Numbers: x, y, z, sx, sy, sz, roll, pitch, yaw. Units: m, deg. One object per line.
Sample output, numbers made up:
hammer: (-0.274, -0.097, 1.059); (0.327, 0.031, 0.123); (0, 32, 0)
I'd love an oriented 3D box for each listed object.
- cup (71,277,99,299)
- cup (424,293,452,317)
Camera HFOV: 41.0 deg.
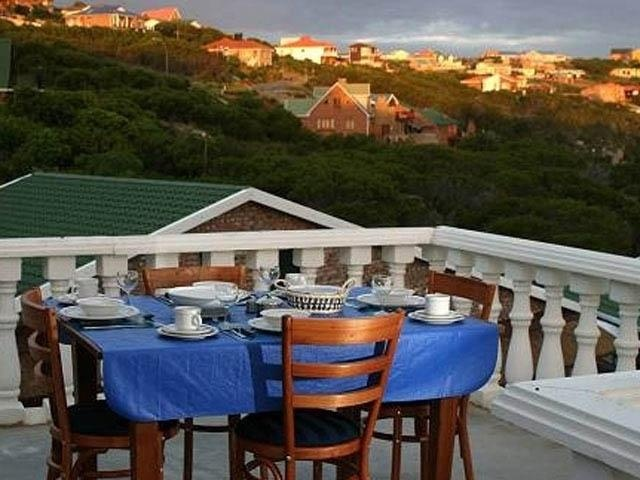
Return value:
cup: (-1.399, 0.283, 5.140); (0.131, 0.109, 0.113); (-3, 12, -20)
cup: (0.676, 0.370, 4.957); (0.119, 0.100, 0.118); (2, 5, 0)
